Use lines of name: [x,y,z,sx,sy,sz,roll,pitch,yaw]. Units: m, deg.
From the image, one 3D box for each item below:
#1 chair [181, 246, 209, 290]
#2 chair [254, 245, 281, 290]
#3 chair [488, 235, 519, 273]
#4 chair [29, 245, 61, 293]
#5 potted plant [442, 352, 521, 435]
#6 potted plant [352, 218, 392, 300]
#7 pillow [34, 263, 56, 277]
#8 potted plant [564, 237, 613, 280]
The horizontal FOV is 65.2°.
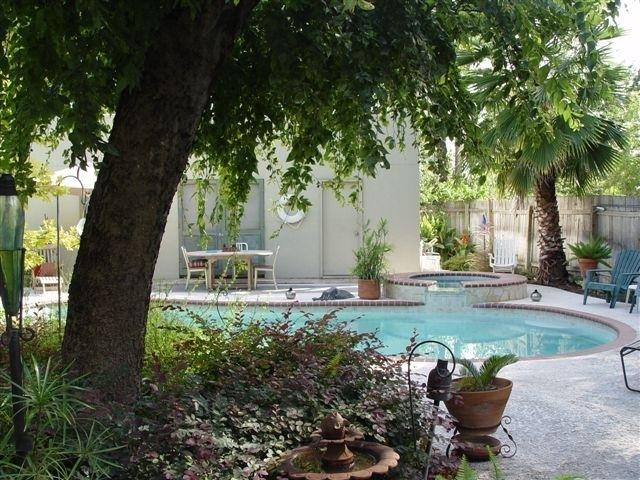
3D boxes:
chair: [-2.876,0.584,11.690,0.615,1.034,0.577,-1,6,-6]
chair: [-1.253,0.610,11.556,0.566,0.973,0.570,3,0,4]
chair: [4.770,0.350,13.035,0.727,1.192,1.074,0,7,15]
chair: [-5.787,0.587,10.826,0.373,0.770,0.748,0,-20,28]
potted plant: [1.109,1.094,3.727,0.572,0.561,0.470,2,-6,-32]
potted plant: [1.073,0.398,10.277,0.705,1.685,0.893,7,-9,-38]
pillow: [-5.862,0.623,10.680,0.343,0.254,0.347,-3,-3,31]
potted plant: [5.979,0.417,10.950,0.758,0.843,0.828,2,1,0]
